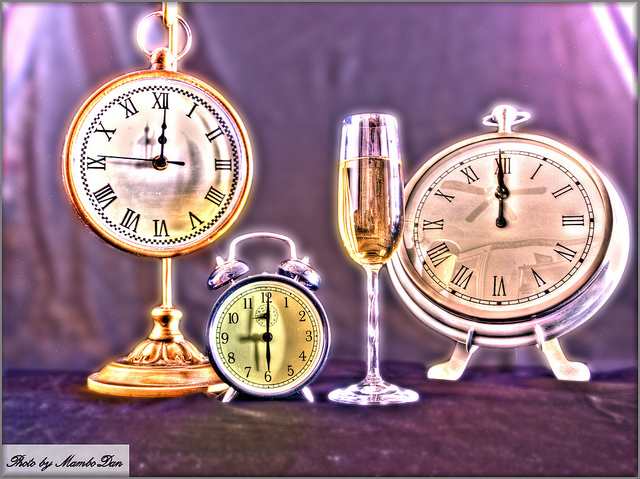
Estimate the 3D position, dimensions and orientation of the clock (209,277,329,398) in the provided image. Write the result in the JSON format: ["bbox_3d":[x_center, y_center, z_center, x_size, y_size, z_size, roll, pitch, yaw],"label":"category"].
[{"bbox_3d":[-0.121,0.229,2.173,0.394,0.277,0.045,1,-14,-1],"label":"clock"}]

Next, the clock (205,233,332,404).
[{"bbox_3d":[-0.121,0.222,2.183,0.291,0.299,0.227,-10,21,0],"label":"clock"}]

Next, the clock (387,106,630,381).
[{"bbox_3d":[0.455,-0.025,2.301,0.478,0.556,0.407,9,29,41],"label":"clock"}]
